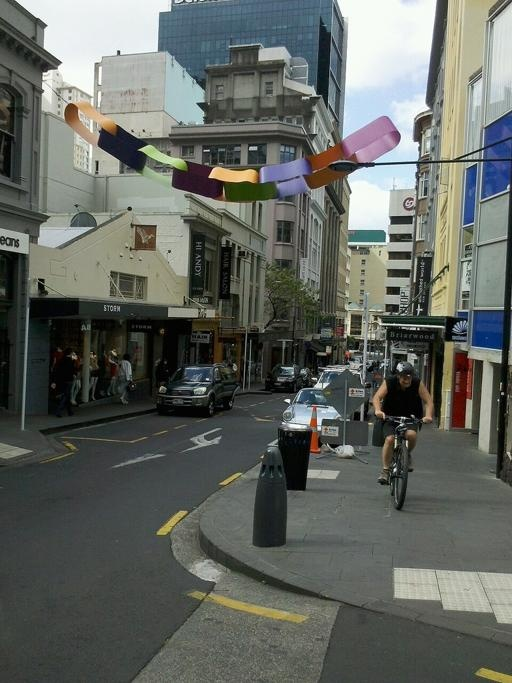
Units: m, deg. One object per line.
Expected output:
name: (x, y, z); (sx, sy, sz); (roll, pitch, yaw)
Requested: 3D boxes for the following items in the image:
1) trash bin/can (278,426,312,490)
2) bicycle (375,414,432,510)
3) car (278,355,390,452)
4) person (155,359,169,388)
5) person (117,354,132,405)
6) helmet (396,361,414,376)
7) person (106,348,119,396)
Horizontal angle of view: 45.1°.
trash bin/can: (0.524, 1.655, 8.644); (0.437, 0.880, 0.352); (2, 0, 2)
bicycle: (1.782, 1.507, 7.574); (0.434, 1.159, 1.226); (2, 0, 12)
car: (1.471, 1.303, 13.238); (1.507, 1.229, 3.174); (0, -4, 14)
person: (-3.822, 1.312, 25.192); (0.344, 1.177, 0.835); (8, 1, 2)
person: (-4.741, 1.357, 22.305); (0.473, 1.687, 0.956); (2, 0, -13)
helmet: (1.791, 0.319, 7.369); (0.150, 0.214, 0.214); (-1, -1, 1)
person: (-5.344, 1.158, 23.036); (0.359, 1.548, 1.366); (2, 0, -14)
